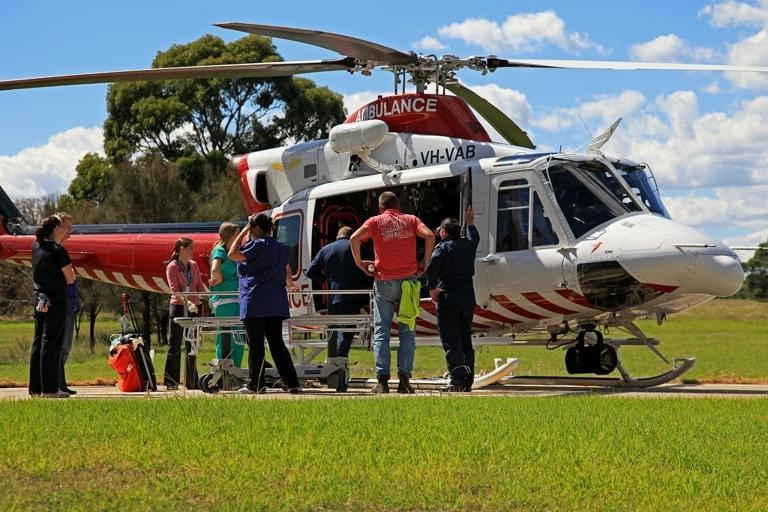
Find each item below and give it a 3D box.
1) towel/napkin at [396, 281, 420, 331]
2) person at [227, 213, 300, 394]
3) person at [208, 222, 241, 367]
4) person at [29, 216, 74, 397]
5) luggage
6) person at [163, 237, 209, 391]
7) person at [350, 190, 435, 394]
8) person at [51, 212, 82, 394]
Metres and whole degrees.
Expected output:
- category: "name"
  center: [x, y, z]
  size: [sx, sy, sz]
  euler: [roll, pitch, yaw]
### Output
- category: "towel/napkin"
  center: [0.356, 0.640, 13.850]
  size: [0.216, 0.677, 0.429]
  euler: [7, 14, 39]
- category: "person"
  center: [-1.497, 0.574, 13.969]
  size: [0.851, 2.411, 0.747]
  euler: [0, -1, 24]
- category: "person"
  center: [-2.293, 0.540, 15.561]
  size: [0.701, 2.129, 0.750]
  euler: [1, 13, 4]
- category: "person"
  center: [-4.275, 0.671, 14.088]
  size: [0.687, 2.399, 0.808]
  euler: [-1, 1, -24]
- category: "luggage"
  center: [-3.592, 1.460, 15.226]
  size: [0.846, 2.004, 0.836]
  euler: [0, 0, -7]
- category: "person"
  center: [-2.938, 0.815, 15.437]
  size: [0.756, 2.165, 0.611]
  euler: [1, -1, 12]
- category: "person"
  center: [0.185, 0.467, 14.204]
  size: [0.974, 2.650, 1.046]
  euler: [0, 0, 6]
- category: "person"
  center: [-4.301, 0.698, 14.163]
  size: [0.423, 2.536, 0.646]
  euler: [-3, 13, -31]
